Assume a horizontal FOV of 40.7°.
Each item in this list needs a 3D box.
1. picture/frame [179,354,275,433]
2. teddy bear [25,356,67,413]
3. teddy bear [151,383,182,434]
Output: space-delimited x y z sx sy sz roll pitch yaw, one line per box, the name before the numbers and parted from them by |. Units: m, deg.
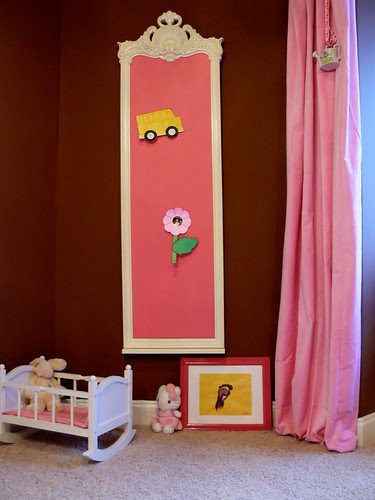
picture/frame | 0.192 0.718 2.459 0.295 0.290 0.025 1 -23 -1
teddy bear | -0.669 0.631 2.363 0.175 0.277 0.172 5 -11 -21
teddy bear | -0.099 0.767 2.451 0.149 0.207 0.160 0 2 7
